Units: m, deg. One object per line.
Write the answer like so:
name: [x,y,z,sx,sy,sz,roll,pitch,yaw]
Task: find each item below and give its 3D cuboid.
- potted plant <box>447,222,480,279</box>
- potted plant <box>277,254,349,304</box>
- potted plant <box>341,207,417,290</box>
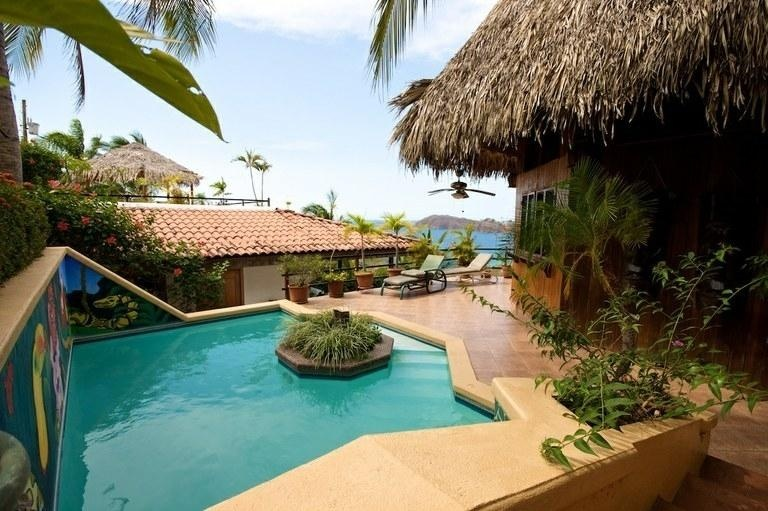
potted plant: [2.938,-0.285,17.016,1.352,2.157,1.391,0,-3,-8]
potted plant: [-1.945,1.014,12.004,1.752,1.348,1.263,1,10,-1]
potted plant: [-0.201,-0.184,15.741,2.996,3.200,1.571,-5,13,-29]
